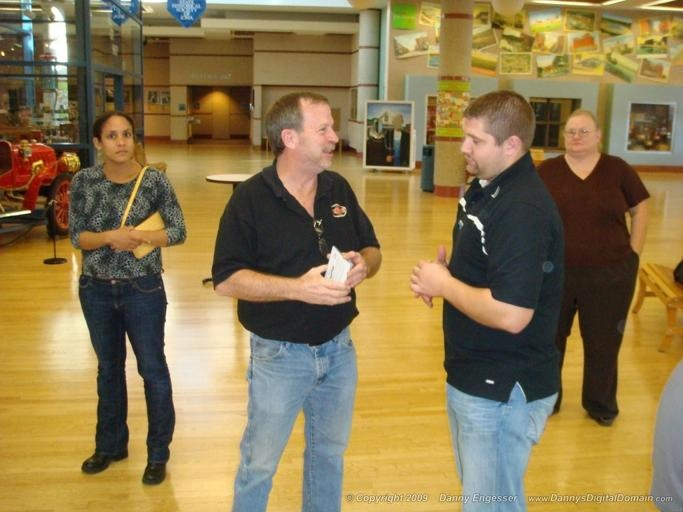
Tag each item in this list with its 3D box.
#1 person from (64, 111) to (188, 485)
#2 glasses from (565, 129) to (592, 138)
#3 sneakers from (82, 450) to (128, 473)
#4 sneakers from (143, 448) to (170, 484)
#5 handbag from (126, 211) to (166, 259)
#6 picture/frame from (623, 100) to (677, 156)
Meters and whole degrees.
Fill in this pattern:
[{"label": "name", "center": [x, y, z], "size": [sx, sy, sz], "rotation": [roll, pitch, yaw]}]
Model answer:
[{"label": "person", "center": [-1.137, 0.215, 3.078], "size": [0.562, 1.910, 0.378], "rotation": [2, 10, 14]}, {"label": "glasses", "center": [1.379, -0.721, 3.419], "size": [0.120, 0.054, 0.040], "rotation": [7, 12, 37]}, {"label": "sneakers", "center": [-1.290, 1.114, 3.194], "size": [0.220, 0.090, 0.078], "rotation": [-6, 11, -44]}, {"label": "sneakers", "center": [-0.973, 1.120, 3.089], "size": [0.073, 0.075, 0.188], "rotation": [5, 14, -2]}, {"label": "handbag", "center": [-0.984, -0.101, 2.952], "size": [0.050, 0.150, 0.211], "rotation": [19, 51, 30]}, {"label": "picture/frame", "center": [9.849, -4.119, 18.673], "size": [1.829, 1.889, 0.075], "rotation": [2, 3, 1]}]
